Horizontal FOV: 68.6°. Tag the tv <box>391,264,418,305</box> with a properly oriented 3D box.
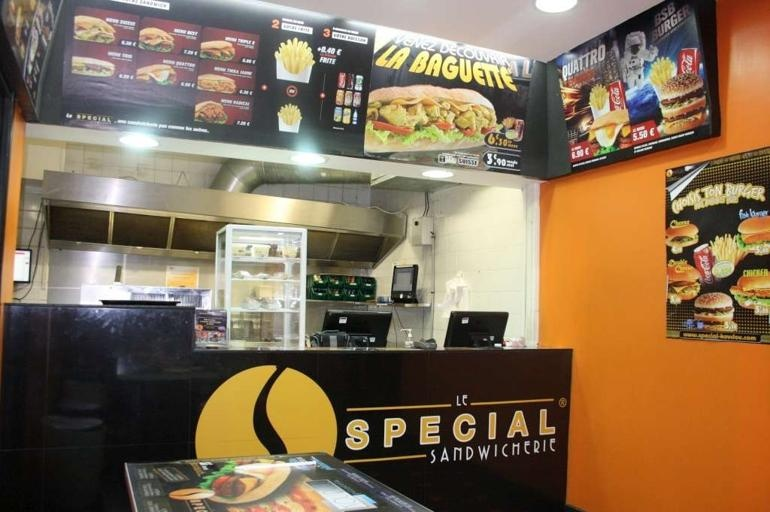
[{"bbox_3d":[0.298,0.429,8.384,0.297,0.558,0.467,16,-18,-40],"label":"tv"}]

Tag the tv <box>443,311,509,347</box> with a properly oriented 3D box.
[{"bbox_3d":[0.904,0.716,5.636,0.641,0.361,0.221,6,-8,-28],"label":"tv"}]

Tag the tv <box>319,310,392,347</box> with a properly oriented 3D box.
[{"bbox_3d":[-0.276,0.691,5.465,0.684,0.342,0.146,5,-8,-25],"label":"tv"}]
